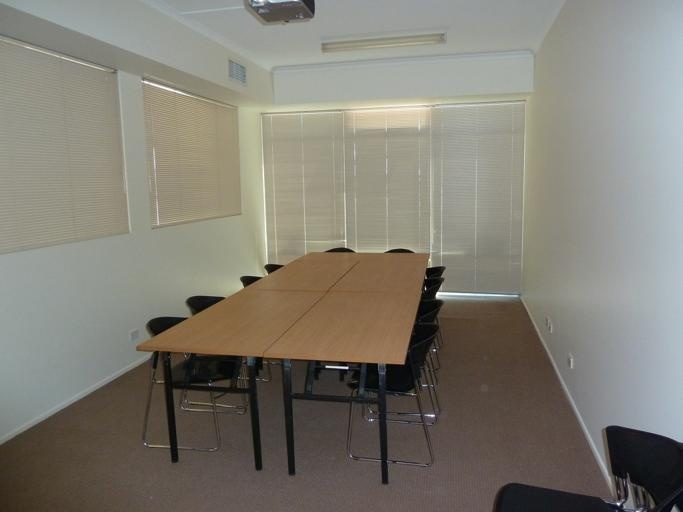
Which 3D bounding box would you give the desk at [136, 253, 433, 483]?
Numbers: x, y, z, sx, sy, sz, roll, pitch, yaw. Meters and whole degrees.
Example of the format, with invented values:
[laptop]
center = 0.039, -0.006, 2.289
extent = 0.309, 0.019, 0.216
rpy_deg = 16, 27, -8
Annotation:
[desk]
center = -0.182, 0.826, 4.639
extent = 1.784, 0.995, 2.732
rpy_deg = 2, 14, 13
